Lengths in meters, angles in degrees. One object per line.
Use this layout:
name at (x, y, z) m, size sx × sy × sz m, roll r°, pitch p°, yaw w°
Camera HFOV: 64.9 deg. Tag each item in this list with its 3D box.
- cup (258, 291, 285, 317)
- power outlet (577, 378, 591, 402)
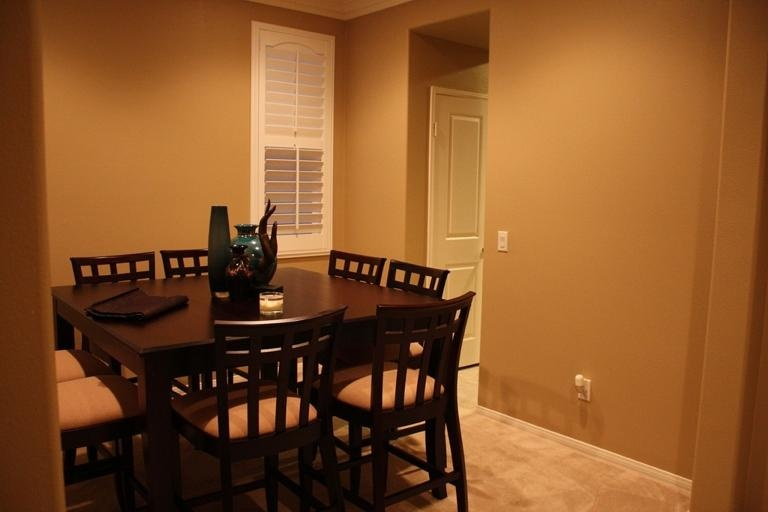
cup at (-0.561, 0.238, 3.072) m, size 0.129 × 0.114 × 0.158 m, roll -3°, pitch 12°, yaw -19°
power outlet at (1.271, 0.847, 3.838) m, size 0.090 × 0.155 × 0.022 m, roll 9°, pitch 13°, yaw 36°
